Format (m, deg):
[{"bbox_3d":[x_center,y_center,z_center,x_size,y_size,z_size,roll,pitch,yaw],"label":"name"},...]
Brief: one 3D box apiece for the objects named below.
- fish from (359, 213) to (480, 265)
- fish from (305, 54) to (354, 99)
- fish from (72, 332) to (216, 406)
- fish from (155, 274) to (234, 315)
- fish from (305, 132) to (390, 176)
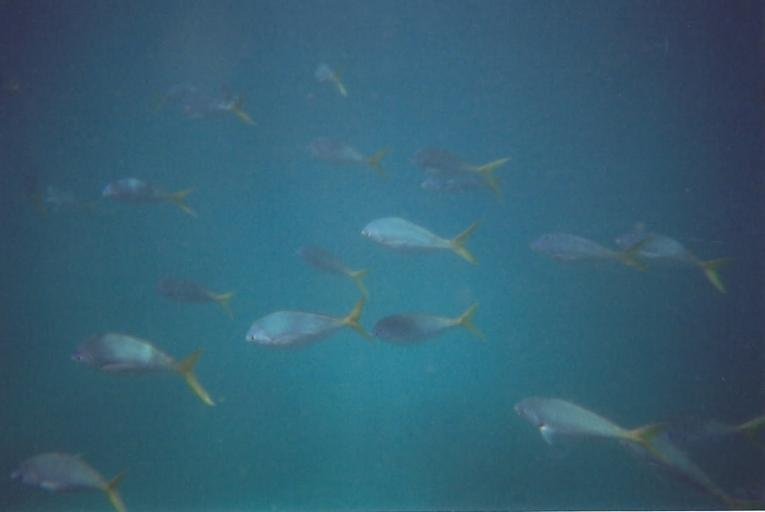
[{"bbox_3d":[0.181,-0.073,4.159,0.586,0.127,0.246,9,-79,10],"label":"fish"},{"bbox_3d":[-0.286,-0.911,4.164,0.183,0.037,0.117,33,-73,-5],"label":"fish"},{"bbox_3d":[-1.191,0.549,3.980,0.529,0.165,0.367,8,-108,5],"label":"fish"},{"bbox_3d":[-0.982,0.210,4.137,0.362,0.081,0.158,11,-71,-4],"label":"fish"},{"bbox_3d":[-0.191,-0.528,4.268,0.429,0.046,0.177,16,-89,3],"label":"fish"}]
